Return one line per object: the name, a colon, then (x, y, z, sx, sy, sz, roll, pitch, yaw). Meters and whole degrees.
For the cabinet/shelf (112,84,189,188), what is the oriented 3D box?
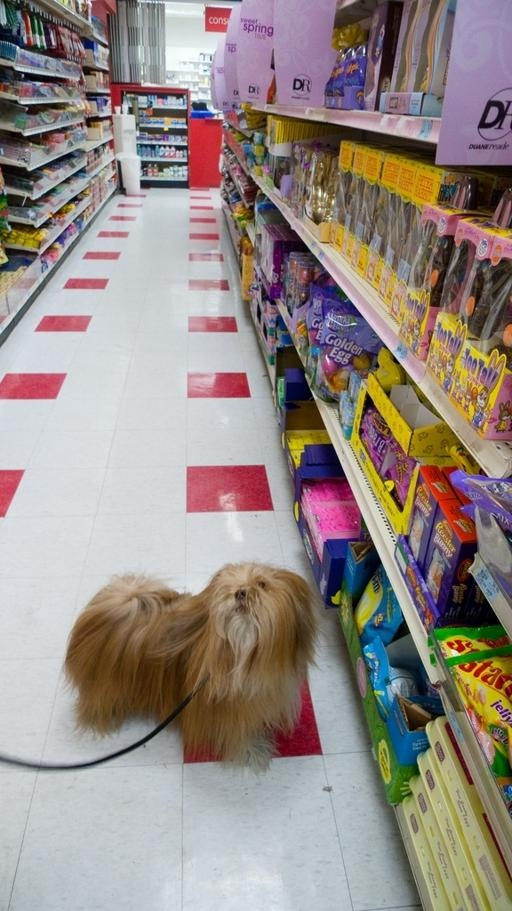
cabinet/shelf: (-2.005, -6.440, 10.655, 1.303, 1.758, 0.716, 3, 30, -5)

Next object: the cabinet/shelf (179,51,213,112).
cabinet/shelf: (-1.510, -9.666, 13.447, 0.797, 1.153, 0.793, -1, 31, -10)

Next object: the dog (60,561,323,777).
dog: (-0.124, 0.396, 1.291, 0.539, 0.454, 0.435, 3, 34, 6)
